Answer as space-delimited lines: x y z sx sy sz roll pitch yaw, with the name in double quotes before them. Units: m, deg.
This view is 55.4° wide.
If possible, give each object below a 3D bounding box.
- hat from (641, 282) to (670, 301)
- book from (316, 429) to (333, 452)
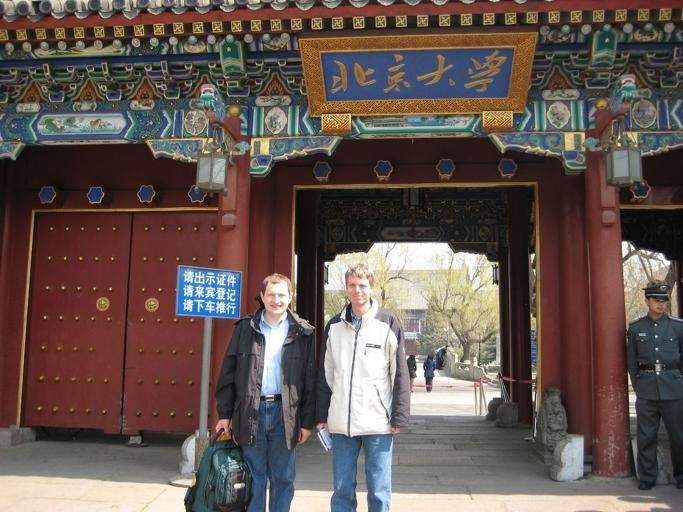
"hat" 3.396 0.378 7.081 0.241 0.149 0.275 2 3 -7
"book" -0.133 1.529 5.369 0.048 0.153 0.151 -13 -5 -2
